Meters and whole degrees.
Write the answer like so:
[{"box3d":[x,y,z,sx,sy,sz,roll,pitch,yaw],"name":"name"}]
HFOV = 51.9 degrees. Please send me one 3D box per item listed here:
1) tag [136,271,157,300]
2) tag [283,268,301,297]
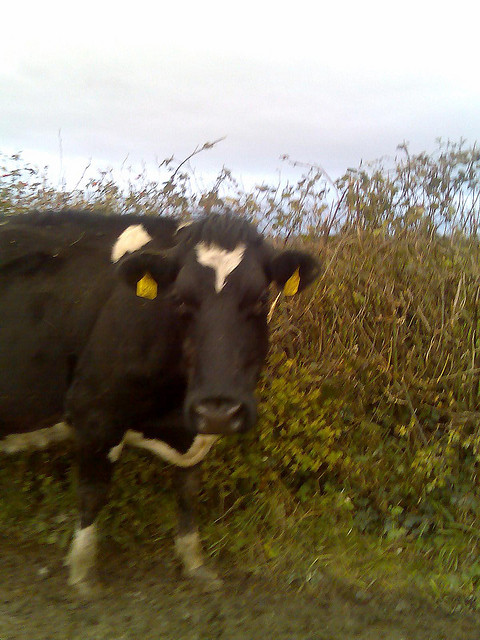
[{"box3d":[-0.567,-0.219,2.991,0.153,0.222,0.023,1,27,-24],"name":"tag"},{"box3d":[0.351,-0.248,3.288,0.104,0.206,0.123,7,15,16],"name":"tag"}]
